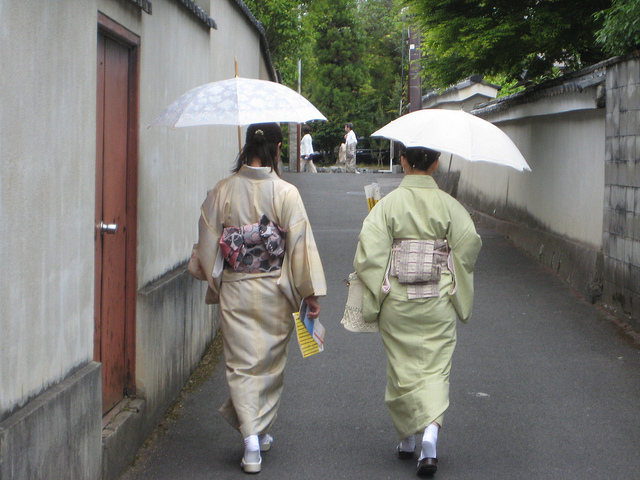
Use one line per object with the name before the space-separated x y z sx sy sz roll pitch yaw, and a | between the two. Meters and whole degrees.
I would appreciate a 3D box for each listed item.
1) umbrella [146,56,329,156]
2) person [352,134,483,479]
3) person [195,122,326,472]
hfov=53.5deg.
umbrella | -0.597 -1.111 4.848 1.100 0.806 1.296 -2 9 17
person | 0.686 0.434 4.546 0.691 1.775 0.659 8 13 40
person | -0.427 0.350 4.525 0.772 2.354 0.751 -6 11 -28
